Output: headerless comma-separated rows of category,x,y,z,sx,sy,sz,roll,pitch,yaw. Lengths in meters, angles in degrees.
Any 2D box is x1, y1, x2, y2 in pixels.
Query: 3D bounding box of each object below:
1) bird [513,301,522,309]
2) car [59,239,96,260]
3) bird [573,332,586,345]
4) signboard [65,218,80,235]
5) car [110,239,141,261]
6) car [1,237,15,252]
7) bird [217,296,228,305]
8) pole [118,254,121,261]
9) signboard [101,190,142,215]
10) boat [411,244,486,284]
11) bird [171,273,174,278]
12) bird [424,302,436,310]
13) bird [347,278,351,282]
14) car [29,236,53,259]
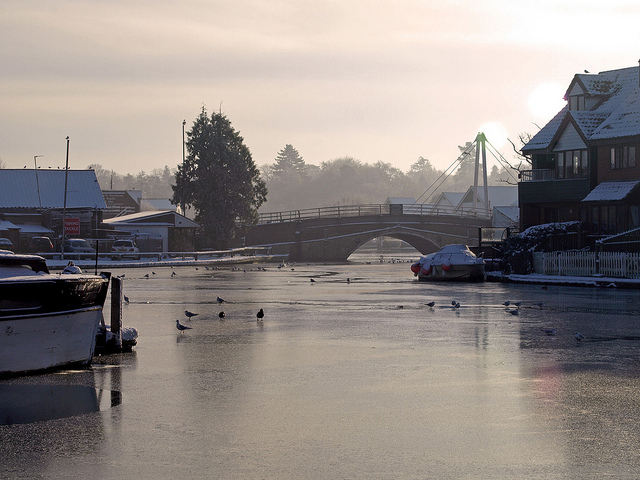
bird,6.354,2.129,41.759,0.315,0.207,0.122,21,-11,-22
car,-16.557,0.727,87.979,1.276,1.103,2.274,2,-6,-30
bird,6.606,2.531,33.123,0.465,0.340,0.177,0,-4,-43
signboard,-14.739,-0.755,77.019,0.816,1.002,1.472,-2,8,-14
car,-13.398,0.840,88.908,1.963,1.314,2.031,-1,8,-4
car,-20.827,0.421,86.192,0.839,0.633,1.881,-2,10,-24
bird,-3.237,2.017,42.743,0.148,0.249,0.420,2,10,43
pole,-13.583,1.232,87.806,0.192,0.425,0.720,-2,8,-11
signboard,-21.305,-3.895,138.594,3.994,2.668,2.118,-1,0,-6
boat,6.197,1.196,60.586,3.083,1.384,1.675,1,8,6
bird,-7.278,1.801,63.899,0.083,0.155,0.111,7,-1,-34
bird,3.538,2.147,41.714,0.189,0.314,0.601,4,3,36
bird,1.308,1.856,58.323,0.103,0.157,0.157,3,37,-5
car,-17.583,0.527,81.773,1.110,1.081,2.059,-1,12,-13
